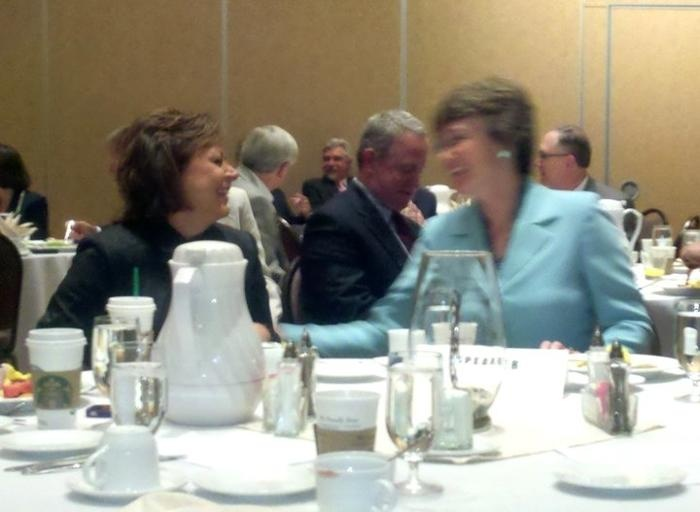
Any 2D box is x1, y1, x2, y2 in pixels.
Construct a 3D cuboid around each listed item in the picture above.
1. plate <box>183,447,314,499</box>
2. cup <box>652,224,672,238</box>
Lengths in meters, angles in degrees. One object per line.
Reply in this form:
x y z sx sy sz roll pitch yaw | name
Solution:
-0.150 0.330 1.086 0.194 0.025 0.146 -1 -1 -4 | plate
1.724 -0.130 3.992 0.094 0.084 0.095 -1 0 0 | cup
